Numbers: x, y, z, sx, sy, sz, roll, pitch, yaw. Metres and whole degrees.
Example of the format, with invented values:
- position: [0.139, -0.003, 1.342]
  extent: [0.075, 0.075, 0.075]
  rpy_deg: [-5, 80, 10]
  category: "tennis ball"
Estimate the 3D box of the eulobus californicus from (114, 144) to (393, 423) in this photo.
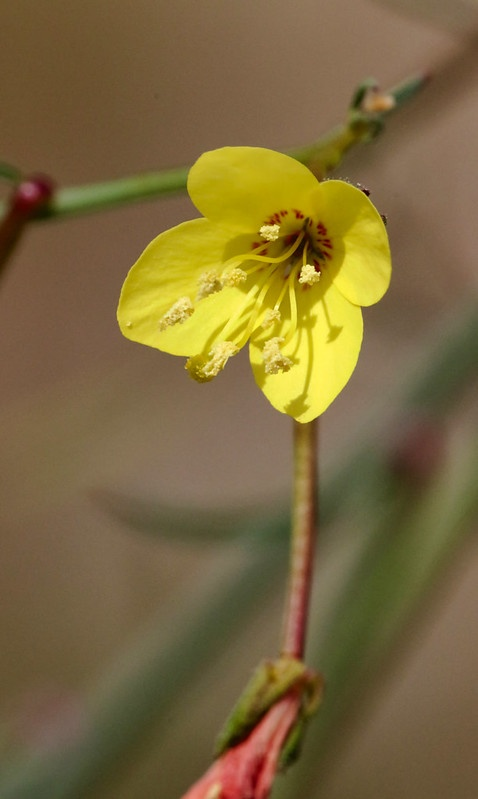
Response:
- position: [0.022, -0.076, 0.459]
  extent: [0.179, 0.162, 0.096]
  rpy_deg: [18, 28, 28]
  category: "eulobus californicus"
